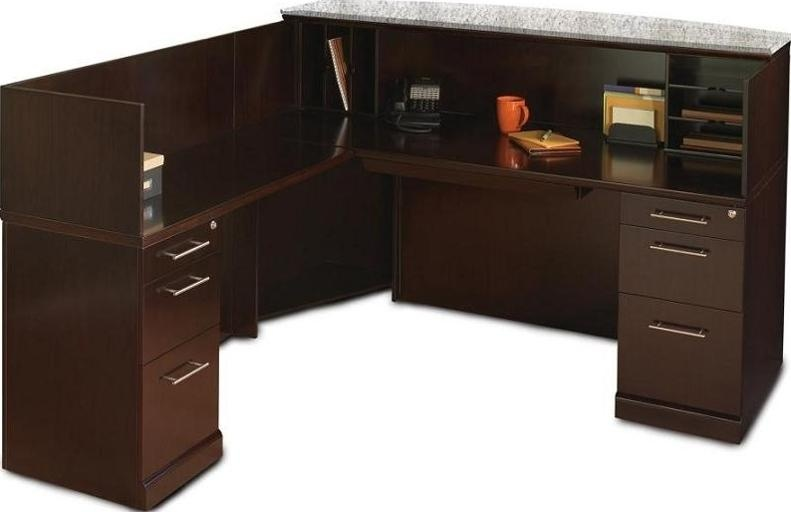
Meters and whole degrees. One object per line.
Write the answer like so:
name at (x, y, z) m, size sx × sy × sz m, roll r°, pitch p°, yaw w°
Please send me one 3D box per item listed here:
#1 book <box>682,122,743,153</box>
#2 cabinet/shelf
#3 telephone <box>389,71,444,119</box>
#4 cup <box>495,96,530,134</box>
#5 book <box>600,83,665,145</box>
book at (1.557, -0.608, 3.479) m, size 0.242 × 0.054 × 0.190 m, roll 14°, pitch 38°, yaw 27°
cabinet/shelf at (-0.379, -0.101, 3.490) m, size 3.086 × 1.664 × 2.035 m, roll -14°, pitch 33°, yaw -26°
telephone at (0.132, -0.885, 4.075) m, size 0.274 × 0.255 × 0.165 m, roll 3°, pitch -11°, yaw 5°
cup at (0.635, -0.736, 3.770) m, size 0.132 × 0.174 × 0.209 m, roll -13°, pitch 29°, yaw -18°
book at (1.225, -0.773, 3.704) m, size 0.467 × 0.319 × 0.264 m, roll 10°, pitch 18°, yaw 31°
